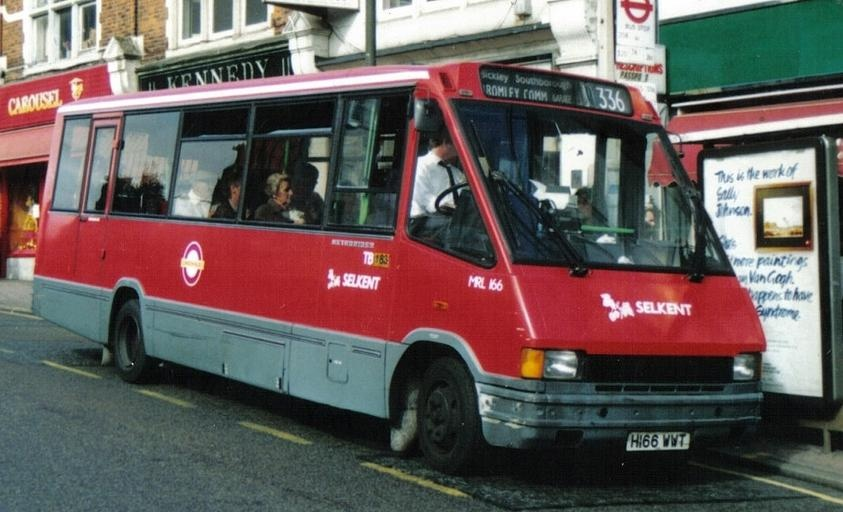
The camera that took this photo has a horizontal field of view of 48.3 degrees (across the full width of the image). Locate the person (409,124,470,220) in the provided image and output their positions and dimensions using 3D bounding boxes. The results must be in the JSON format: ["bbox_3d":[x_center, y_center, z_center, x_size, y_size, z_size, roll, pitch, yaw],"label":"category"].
[{"bbox_3d":[0.312,-0.975,11.417,0.754,1.263,0.827,5,12,36],"label":"person"}]

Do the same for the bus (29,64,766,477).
[{"bbox_3d":[-1.274,-0.278,13.735,11.989,4.893,3.185,9,11,39],"label":"bus"}]

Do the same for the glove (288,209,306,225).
[{"bbox_3d":[-1.661,-0.526,12.577,0.209,0.062,0.212,13,32,-30],"label":"glove"}]

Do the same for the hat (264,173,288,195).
[{"bbox_3d":[-2.004,-0.997,12.900,0.318,0.326,0.260,2,4,37],"label":"hat"}]
